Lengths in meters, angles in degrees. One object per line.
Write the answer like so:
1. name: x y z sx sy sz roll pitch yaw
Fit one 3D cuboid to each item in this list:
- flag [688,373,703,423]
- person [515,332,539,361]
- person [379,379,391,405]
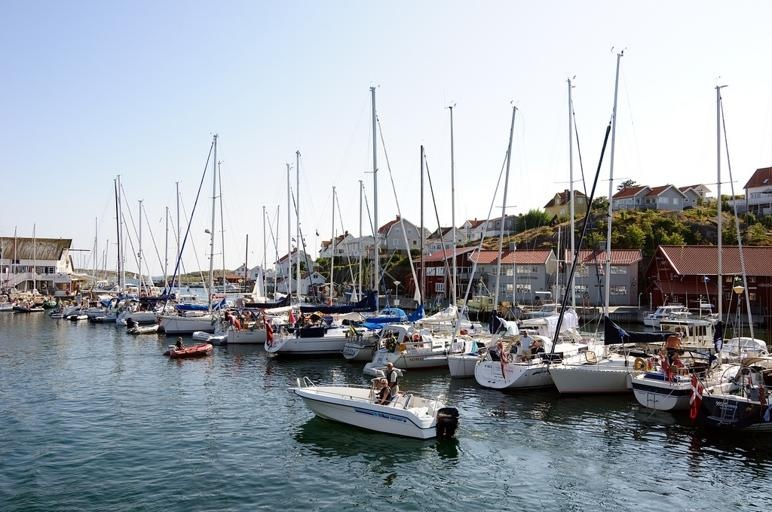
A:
1. flag: 17.602 7.865 39.941 0.682 2.525 1.146 6 13 25
2. person: 9.254 5.937 46.197 0.918 2.920 1.297 -8 13 -40
3. person: -0.021 7.576 39.517 0.686 1.195 1.253 0 -7 5
